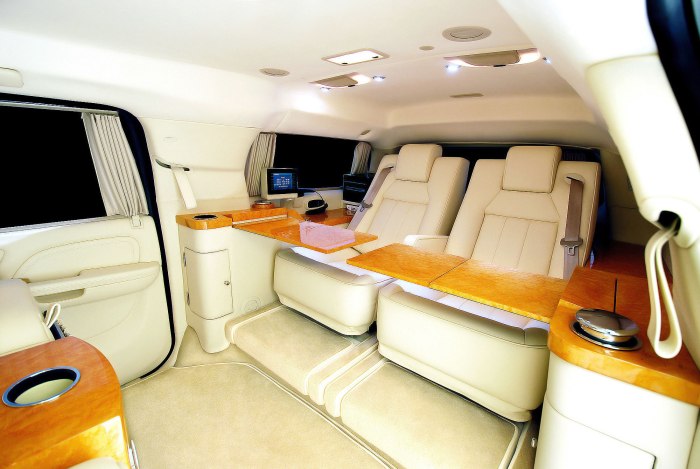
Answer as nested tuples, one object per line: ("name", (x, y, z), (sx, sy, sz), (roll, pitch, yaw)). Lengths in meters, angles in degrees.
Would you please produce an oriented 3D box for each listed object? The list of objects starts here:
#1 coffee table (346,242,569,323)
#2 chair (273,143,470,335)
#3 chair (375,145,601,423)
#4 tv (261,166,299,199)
("coffee table", (0.471, 0.185, 1.825), (0.884, 0.084, 0.408), (11, 14, 32))
("chair", (0.178, -0.073, 2.978), (0.855, 1.107, 1.402), (14, 21, 35))
("chair", (0.873, 0.125, 2.414), (0.988, 1.147, 1.429), (14, 25, 39))
("tv", (-0.558, -0.401, 3.098), (0.128, 0.208, 0.256), (10, 13, 42))
